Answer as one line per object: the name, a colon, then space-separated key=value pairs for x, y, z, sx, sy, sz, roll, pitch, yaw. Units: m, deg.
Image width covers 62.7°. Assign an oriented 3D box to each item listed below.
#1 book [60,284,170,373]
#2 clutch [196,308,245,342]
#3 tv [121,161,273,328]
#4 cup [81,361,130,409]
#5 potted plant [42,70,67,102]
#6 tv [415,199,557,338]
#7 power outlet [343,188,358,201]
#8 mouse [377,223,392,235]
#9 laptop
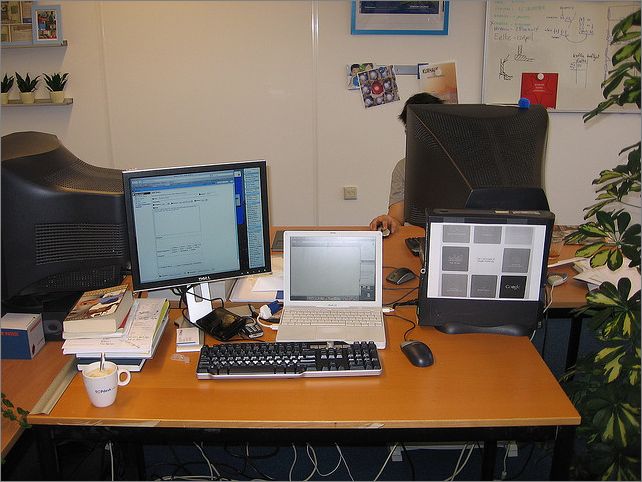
book: x=-0.674 y=0.333 z=1.877 sx=0.273 sy=0.065 sz=0.282 roll=0 pitch=25 yaw=-2
clutch: x=-0.376 y=0.312 z=1.959 sx=0.114 sy=0.027 sz=0.115 roll=20 pitch=35 yaw=25
tv: x=-0.461 y=0.019 z=1.937 sx=0.560 sy=0.680 sz=0.239 roll=-5 pitch=14 yaw=-14
cup: x=-0.684 y=0.441 z=1.676 sx=0.164 sy=0.121 sz=0.127 roll=1 pitch=3 yaw=-14
potted plant: x=-1.868 y=-1.070 z=3.675 sx=0.187 sy=0.218 sz=0.160 roll=-3 pitch=13 yaw=-1
tv: x=0.512 y=0.081 z=2.101 sx=0.668 sy=0.642 sz=0.414 roll=1 pitch=15 yaw=3
power outlet: x=0.218 y=-0.355 z=3.962 sx=0.083 sy=0.083 sz=0.011 roll=-4 pitch=11 yaw=-6
mouse: x=0.334 y=-0.053 z=2.784 sx=0.055 sy=0.020 sz=0.075 roll=-4 pitch=24 yaw=0
laptop: x=0.033 y=0.099 z=1.989 sx=0.441 sy=0.330 sz=0.392 roll=0 pitch=24 yaw=0
